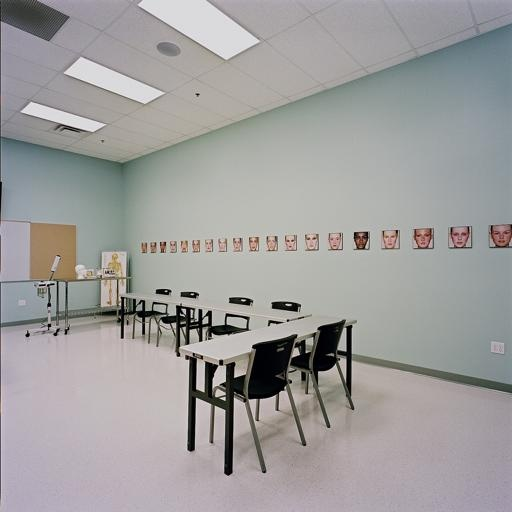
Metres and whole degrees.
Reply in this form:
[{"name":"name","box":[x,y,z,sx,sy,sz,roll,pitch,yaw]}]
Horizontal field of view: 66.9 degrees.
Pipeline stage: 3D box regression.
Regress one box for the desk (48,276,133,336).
[{"name":"desk","box":[-3.101,0.908,7.349,0.592,1.005,1.235,1,2,37]}]
